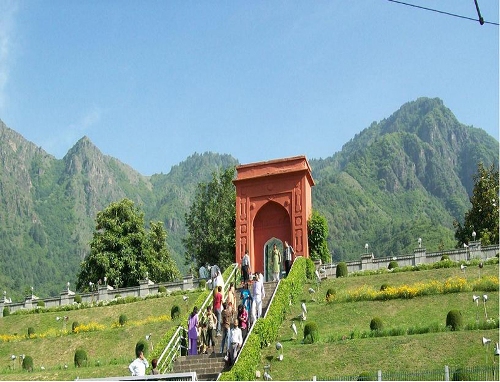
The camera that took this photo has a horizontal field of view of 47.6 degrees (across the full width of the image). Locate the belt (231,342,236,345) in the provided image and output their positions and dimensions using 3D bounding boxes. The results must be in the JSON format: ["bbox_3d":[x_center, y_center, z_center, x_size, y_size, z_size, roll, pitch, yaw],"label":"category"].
[{"bbox_3d":[-0.605,5.836,21.641,0.169,0.087,0.082,-3,-1,-2],"label":"belt"}]

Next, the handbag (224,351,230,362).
[{"bbox_3d":[-0.909,6.502,21.999,0.104,0.164,0.350,2,18,7],"label":"handbag"}]

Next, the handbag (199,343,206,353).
[{"bbox_3d":[-1.895,6.429,23.055,0.266,0.343,0.221,-2,-1,-6],"label":"handbag"}]

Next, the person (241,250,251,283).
[{"bbox_3d":[-0.211,3.913,29.543,0.362,1.213,0.238,4,-7,-38],"label":"person"}]

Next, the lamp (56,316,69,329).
[{"bbox_3d":[-12.157,8.632,36.869,0.609,0.993,0.779,-4,-13,20],"label":"lamp"}]
